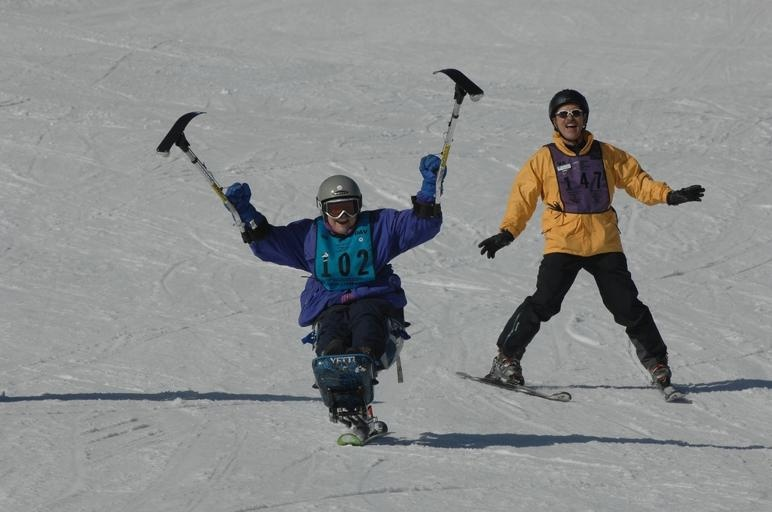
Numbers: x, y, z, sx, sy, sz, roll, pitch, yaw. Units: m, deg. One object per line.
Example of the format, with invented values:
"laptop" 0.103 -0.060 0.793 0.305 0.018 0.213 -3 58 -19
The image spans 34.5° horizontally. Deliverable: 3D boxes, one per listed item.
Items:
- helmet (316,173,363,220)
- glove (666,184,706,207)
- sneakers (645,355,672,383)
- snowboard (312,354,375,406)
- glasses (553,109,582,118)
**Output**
"helmet" -0.533 -0.665 13.916 0.470 0.424 0.408 -5 47 -4
"glove" 3.425 -0.697 14.234 0.292 0.121 0.354 -7 5 -44
"sneakers" 3.183 1.359 14.580 0.194 0.206 0.478 -3 30 0
"snowboard" -0.463 1.349 13.443 0.594 0.590 0.388 -1 34 4
"glasses" 2.138 -1.653 14.439 0.299 0.133 0.105 0 48 0
